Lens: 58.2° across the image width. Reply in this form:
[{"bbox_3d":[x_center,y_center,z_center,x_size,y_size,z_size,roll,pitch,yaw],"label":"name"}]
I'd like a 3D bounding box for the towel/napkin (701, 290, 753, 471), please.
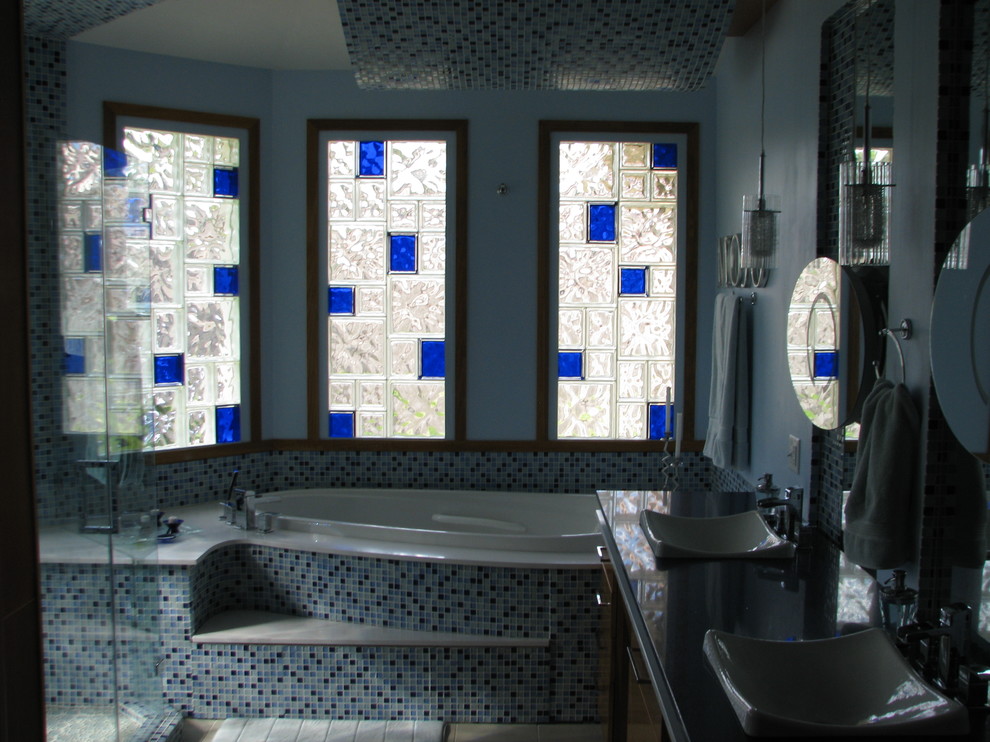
[{"bbox_3d":[1.214,0.098,4.606,0.221,0.980,0.501,-1,13,7],"label":"towel/napkin"}]

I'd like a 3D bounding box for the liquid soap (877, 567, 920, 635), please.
[{"bbox_3d":[1.262,0.726,2.781,0.100,0.047,0.188,-1,32,21],"label":"liquid soap"}]

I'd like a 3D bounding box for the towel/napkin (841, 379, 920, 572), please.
[{"bbox_3d":[1.264,0.333,2.895,0.213,0.551,0.288,2,14,22],"label":"towel/napkin"}]

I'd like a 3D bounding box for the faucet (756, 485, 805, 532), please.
[{"bbox_3d":[1.101,0.504,3.409,0.154,0.259,0.178,1,-2,23],"label":"faucet"}]

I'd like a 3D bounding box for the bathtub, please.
[{"bbox_3d":[-0.358,0.812,4.731,1.880,0.404,1.134,-1,14,9],"label":"bathtub"}]

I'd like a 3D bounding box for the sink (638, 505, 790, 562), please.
[{"bbox_3d":[0.801,0.613,3.298,0.496,0.129,0.378,-4,14,-2],"label":"sink"}]

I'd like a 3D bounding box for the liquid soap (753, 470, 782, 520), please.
[{"bbox_3d":[1.084,0.482,3.518,0.069,0.095,0.243,-1,10,4],"label":"liquid soap"}]

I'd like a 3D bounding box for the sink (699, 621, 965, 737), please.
[{"bbox_3d":[0.902,0.862,2.407,0.594,0.166,0.366,-3,14,0],"label":"sink"}]
